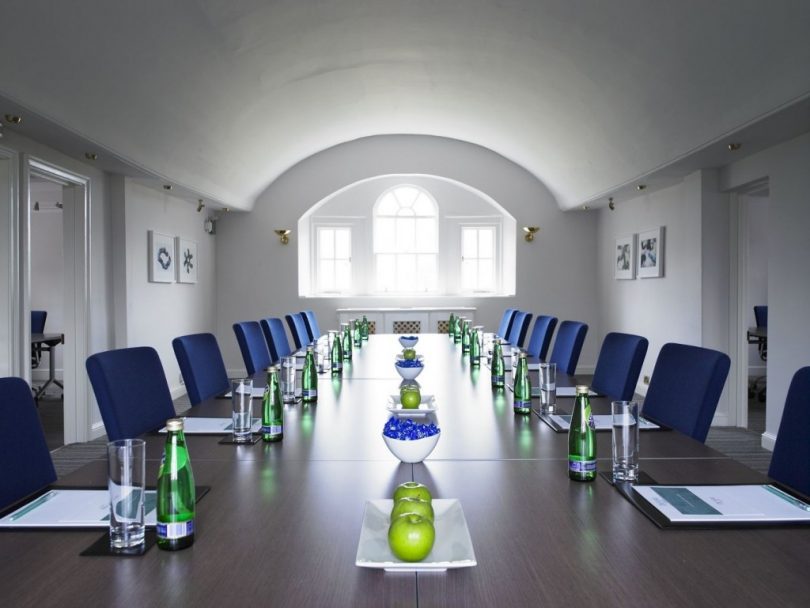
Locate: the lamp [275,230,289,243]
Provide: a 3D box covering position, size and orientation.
[{"bbox_3d":[-2.028,-1.108,8.463,0.186,0.200,0.210,0,-5,-3],"label":"lamp"}]

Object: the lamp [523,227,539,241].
[{"bbox_3d":[2.062,-1.175,8.541,0.185,0.216,0.088,-1,2,-5],"label":"lamp"}]

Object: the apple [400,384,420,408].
[{"bbox_3d":[0.018,0.436,2.479,0.082,0.136,0.091,0,-1,13],"label":"apple"}]

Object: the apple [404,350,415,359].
[{"bbox_3d":[0.025,0.369,3.828,0.055,0.065,0.061,2,-1,-1],"label":"apple"}]

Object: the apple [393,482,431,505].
[{"bbox_3d":[0.017,0.496,1.366,0.060,0.069,0.069,1,-18,-1],"label":"apple"}]
